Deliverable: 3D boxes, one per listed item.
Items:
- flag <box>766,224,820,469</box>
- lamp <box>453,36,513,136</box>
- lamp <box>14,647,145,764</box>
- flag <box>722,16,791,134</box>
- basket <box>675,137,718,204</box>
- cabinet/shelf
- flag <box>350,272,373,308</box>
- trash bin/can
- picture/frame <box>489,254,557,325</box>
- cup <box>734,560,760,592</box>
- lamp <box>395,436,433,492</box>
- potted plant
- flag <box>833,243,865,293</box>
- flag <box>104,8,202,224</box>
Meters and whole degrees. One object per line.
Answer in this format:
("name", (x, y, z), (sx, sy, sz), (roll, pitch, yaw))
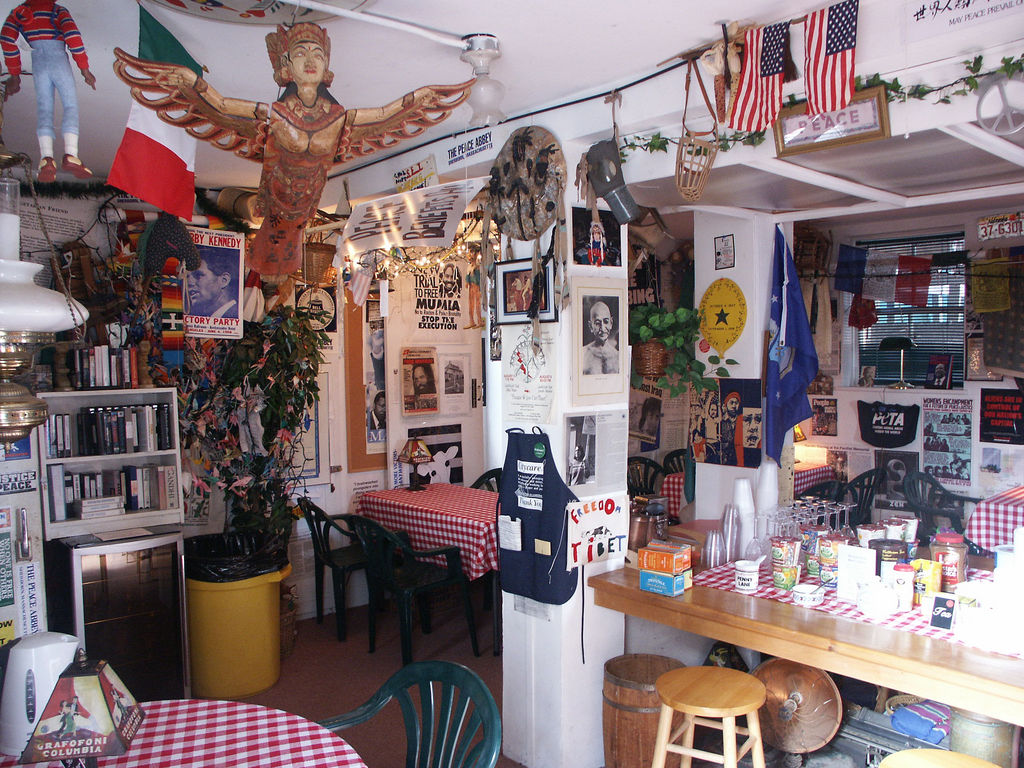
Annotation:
("flag", (1.909, -0.312, 5.606), (0.335, 1.628, 0.299), (-4, 2, -35))
("lamp", (-0.126, -1.417, 3.700), (0.222, 0.339, 0.224), (-3, 1, -19))
("lamp", (-1.475, 1.128, 2.764), (0.342, 0.548, 0.360), (-2, 5, -28))
("flag", (1.140, -1.470, 3.755), (0.408, 0.550, 0.055), (8, 19, 41))
("basket", (0.966, -1.157, 4.226), (0.229, 0.334, 0.485), (-2, 1, 14))
("cabinet/shelf", (-2.632, 0.532, 5.226), (0.979, 1.010, 0.360), (0, -3, -45))
("flag", (-1.184, -0.766, 6.344), (0.159, 0.232, 0.208), (-3, 1, -10))
("trash bin/can", (-2.051, 1.531, 6.066), (0.796, 1.197, 1.188), (0, -1, 1))
("picture/frame", (0.077, -0.556, 4.660), (0.032, 0.352, 0.412), (0, 1, -44))
("cup", (1.227, 1.000, 4.257), (0.133, 0.152, 0.139), (0, 3, 0))
("lamp", (-0.864, 0.722, 7.311), (0.383, 0.494, 0.384), (0, -3, -4))
("potted plant", (1.039, -0.223, 5.309), (0.486, 0.567, 0.671), (0, -5, 14))
("flag", (3.126, -1.084, 7.449), (0.060, 0.620, 0.324), (-20, 26, -40))
("flag", (-1.564, -1.218, 3.507), (0.363, 0.937, 0.603), (-3, 1, -21))
